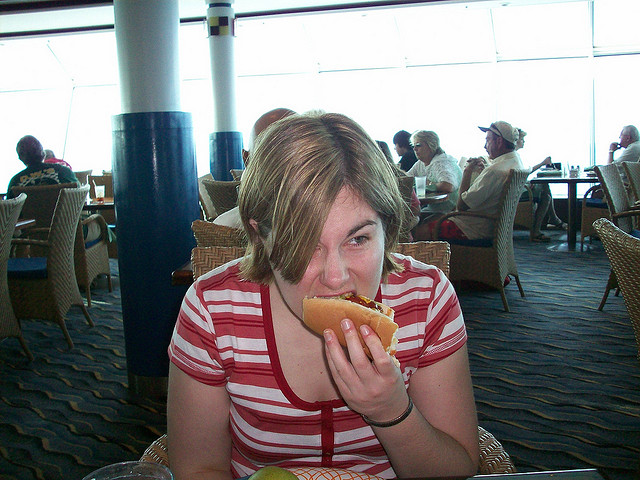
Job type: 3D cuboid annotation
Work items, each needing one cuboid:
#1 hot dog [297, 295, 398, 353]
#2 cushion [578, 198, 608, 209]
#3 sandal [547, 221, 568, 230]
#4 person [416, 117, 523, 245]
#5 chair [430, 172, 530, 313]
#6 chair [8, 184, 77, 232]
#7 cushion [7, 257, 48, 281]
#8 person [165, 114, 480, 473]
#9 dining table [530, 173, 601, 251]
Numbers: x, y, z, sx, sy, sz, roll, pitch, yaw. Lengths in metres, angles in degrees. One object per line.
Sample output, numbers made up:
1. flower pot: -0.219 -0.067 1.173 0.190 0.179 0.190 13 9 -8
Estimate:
1. hot dog: 0.093 0.217 1.337 0.229 0.078 0.148 13 13 -1
2. cushion: 3.887 -0.486 6.599 0.330 0.078 0.345 1 8 14
3. sandal: 4.540 -0.256 8.914 0.296 0.084 0.264 2 14 18
4. person: 1.779 -0.528 5.302 1.111 1.442 1.024 0 17 3
5. chair: 1.716 0.007 5.037 1.024 1.172 0.870 -2 -2 19
6. chair: -2.554 -0.277 4.404 0.395 0.511 0.454 0 23 -8
7. cushion: -2.498 0.259 4.049 0.277 0.071 0.286 -4 11 -37
8. person: 0.001 0.179 1.491 1.012 1.079 0.427 -1 14 7
9. dining table: 3.775 -0.456 7.116 1.279 1.119 1.182 0 14 16
